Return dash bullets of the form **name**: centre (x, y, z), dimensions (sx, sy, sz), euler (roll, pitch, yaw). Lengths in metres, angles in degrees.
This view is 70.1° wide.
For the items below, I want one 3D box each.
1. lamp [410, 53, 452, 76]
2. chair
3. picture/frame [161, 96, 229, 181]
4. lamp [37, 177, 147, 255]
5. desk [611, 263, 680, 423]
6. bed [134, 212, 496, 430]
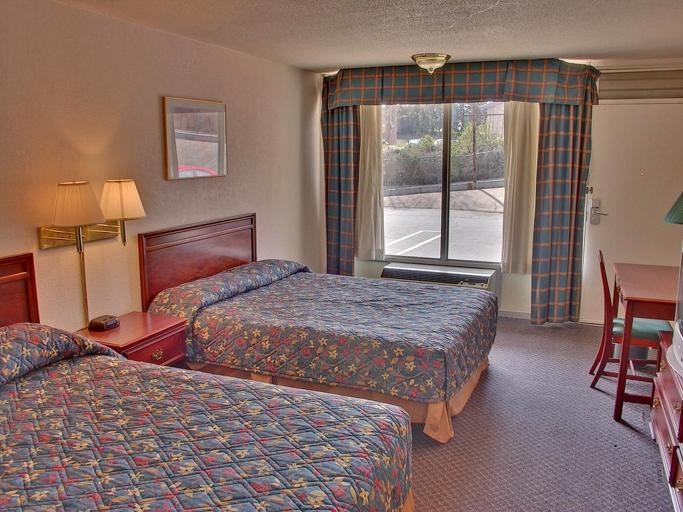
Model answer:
- **lamp**: centre (0.842, -1.862, 4.643), dimensions (0.313, 0.170, 0.295), euler (1, 14, 8)
- **chair**: centre (2.584, 0.662, 4.323), dimensions (0.637, 0.836, 1.292), euler (3, 14, 21)
- **picture/frame**: centre (-1.436, -1.144, 4.685), dimensions (0.071, 0.738, 0.922), euler (9, 13, 25)
- **lamp**: centre (-1.829, -0.347, 3.632), dimensions (0.535, 0.545, 0.905), euler (4, 12, 20)
- **desk**: centre (2.435, 0.690, 3.912), dimensions (0.585, 0.752, 1.187), euler (3, 13, 24)
- **bed**: centre (-0.212, 0.517, 4.375), dimensions (2.649, 1.258, 1.906), euler (4, 12, 24)
